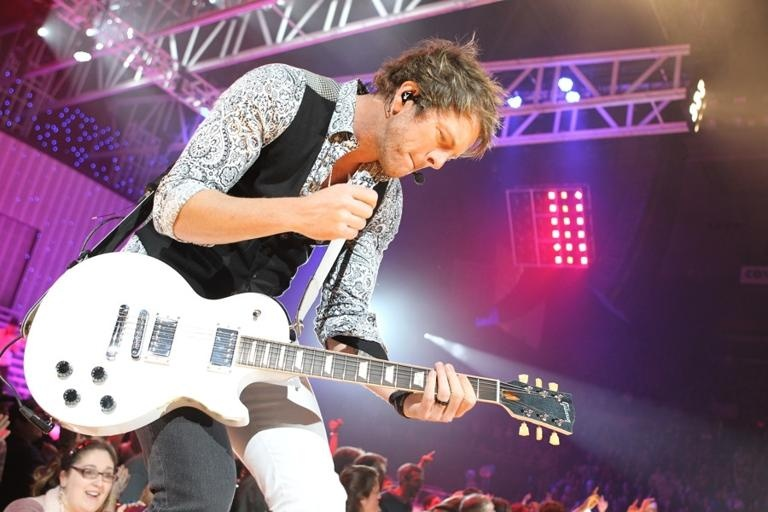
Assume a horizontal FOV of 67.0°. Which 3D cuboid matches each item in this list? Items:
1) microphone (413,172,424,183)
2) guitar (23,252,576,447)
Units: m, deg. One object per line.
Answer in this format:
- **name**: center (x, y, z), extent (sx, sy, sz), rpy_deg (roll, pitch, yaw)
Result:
- **microphone**: center (0.206, -0.480, 3.568), extent (0.058, 0.093, 0.021), rpy_deg (-21, 30, -30)
- **guitar**: center (-0.481, 0.596, 3.247), extent (2.978, 0.385, 1.080), rpy_deg (8, 61, 4)
